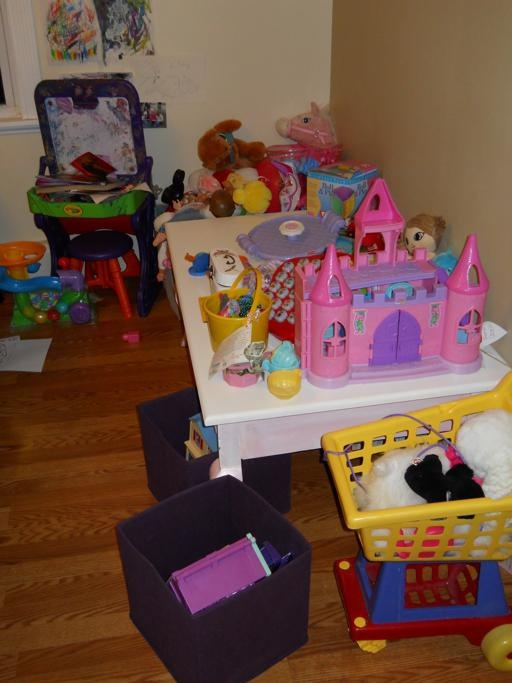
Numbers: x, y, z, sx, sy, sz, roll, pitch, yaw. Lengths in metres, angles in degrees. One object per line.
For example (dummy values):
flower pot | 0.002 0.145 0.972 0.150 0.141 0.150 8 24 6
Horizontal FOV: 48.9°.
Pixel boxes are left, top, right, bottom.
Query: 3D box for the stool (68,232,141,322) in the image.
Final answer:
stool | -0.718 -0.298 2.639 0.321 0.323 0.288 9 50 6

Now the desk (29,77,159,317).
desk | -0.742 -0.647 2.580 0.554 0.970 0.476 1 36 2
